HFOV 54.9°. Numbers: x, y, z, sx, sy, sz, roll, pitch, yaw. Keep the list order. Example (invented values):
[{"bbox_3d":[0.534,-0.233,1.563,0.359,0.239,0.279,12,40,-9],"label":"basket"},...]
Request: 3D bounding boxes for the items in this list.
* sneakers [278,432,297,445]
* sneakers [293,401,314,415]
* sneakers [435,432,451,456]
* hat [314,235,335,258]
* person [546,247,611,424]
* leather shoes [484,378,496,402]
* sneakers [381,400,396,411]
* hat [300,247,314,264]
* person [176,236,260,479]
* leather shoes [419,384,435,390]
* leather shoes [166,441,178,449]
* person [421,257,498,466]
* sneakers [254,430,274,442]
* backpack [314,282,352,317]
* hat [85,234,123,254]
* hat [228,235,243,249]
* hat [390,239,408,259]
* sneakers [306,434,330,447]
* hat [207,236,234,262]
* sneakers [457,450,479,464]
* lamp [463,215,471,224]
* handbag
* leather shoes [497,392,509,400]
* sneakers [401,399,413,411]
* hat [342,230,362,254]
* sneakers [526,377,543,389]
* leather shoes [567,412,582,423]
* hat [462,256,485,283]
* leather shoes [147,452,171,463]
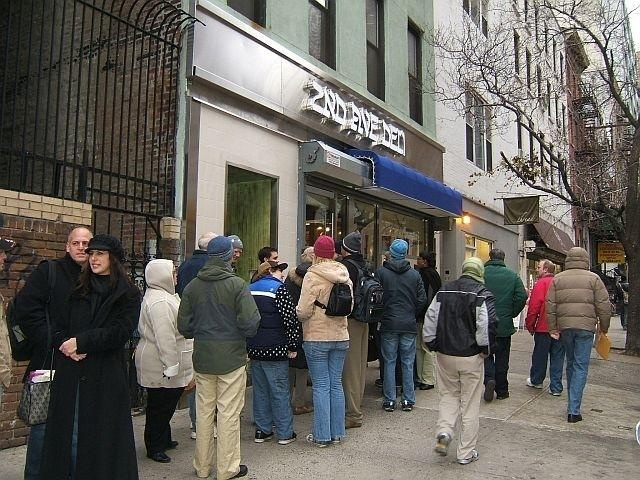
[{"bbox_3d":[-0.398,2.528,7.757,0.087,0.111,0.243,-4,-15,25],"label":"sneakers"},{"bbox_3d":[-0.235,2.473,9.036,0.105,0.159,0.337,0,3,40],"label":"sneakers"},{"bbox_3d":[1.406,2.339,7.063,0.121,0.331,0.139,1,11,10],"label":"sneakers"},{"bbox_3d":[0.058,0.094,7.854,0.240,0.249,0.249,-2,7,-35],"label":"hat"},{"bbox_3d":[3.828,1.383,9.152,0.764,2.470,0.809,-5,10,-9],"label":"person"},{"bbox_3d":[2.608,2.317,9.447,0.131,0.409,0.151,2,15,10],"label":"leather shoes"},{"bbox_3d":[1.036,2.442,9.054,0.223,0.149,0.208,0,4,-13],"label":"sneakers"},{"bbox_3d":[-0.167,0.226,8.581,0.149,0.179,0.214,1,8,1],"label":"hat"},{"bbox_3d":[-1.135,1.314,6.951,0.771,2.649,0.596,3,4,39],"label":"person"},{"bbox_3d":[1.802,2.468,10.352,0.233,0.114,0.100,-2,0,24],"label":"leather shoes"},{"bbox_3d":[-1.805,2.521,7.536,0.055,0.082,0.177,5,4,20],"label":"leather shoes"},{"bbox_3d":[1.700,1.448,7.454,0.815,2.368,0.978,1,3,0],"label":"person"},{"bbox_3d":[-0.711,2.493,7.833,0.093,0.120,0.282,0,-3,34],"label":"sneakers"},{"bbox_3d":[0.161,0.768,7.642,0.346,0.449,0.418,13,-17,-43],"label":"backpack"},{"bbox_3d":[-2.123,0.041,6.129,0.187,0.137,0.259,-10,-21,27],"label":"hat"},{"bbox_3d":[-1.226,0.038,8.657,0.227,0.248,0.183,-3,-2,11],"label":"hat"},{"bbox_3d":[1.234,0.136,9.507,0.242,0.313,0.307,1,13,-15],"label":"hat"},{"bbox_3d":[-0.038,2.524,7.696,0.115,0.123,0.272,5,2,-40],"label":"sneakers"},{"bbox_3d":[-1.148,0.101,7.161,0.277,0.263,0.220,-8,14,-18],"label":"hat"},{"bbox_3d":[1.765,2.603,7.340,0.111,0.142,0.304,3,8,41],"label":"sneakers"},{"bbox_3d":[4.500,-0.613,18.882,0.105,0.293,0.757,2,4,25],"label":"lamp"},{"bbox_3d":[-2.724,1.407,5.901,0.330,0.773,0.204,1,3,1],"label":"handbag"},{"bbox_3d":[2.889,2.488,9.774,0.076,0.105,0.228,1,0,35],"label":"leather shoes"},{"bbox_3d":[1.301,2.443,9.095,0.194,0.154,0.246,1,4,3],"label":"sneakers"},{"bbox_3d":[0.449,0.045,8.803,0.212,0.248,0.290,19,-7,-40],"label":"hat"},{"bbox_3d":[3.691,2.465,10.599,0.119,0.144,0.285,1,5,-22],"label":"sneakers"},{"bbox_3d":[3.628,2.530,8.730,0.245,0.119,0.085,-2,-1,-28],"label":"leather shoes"},{"bbox_3d":[1.981,0.370,7.862,0.231,0.333,0.311,-2,-3,22],"label":"hat"},{"bbox_3d":[-1.891,2.542,7.221,0.289,0.132,0.112,-6,-10,36],"label":"leather shoes"}]
